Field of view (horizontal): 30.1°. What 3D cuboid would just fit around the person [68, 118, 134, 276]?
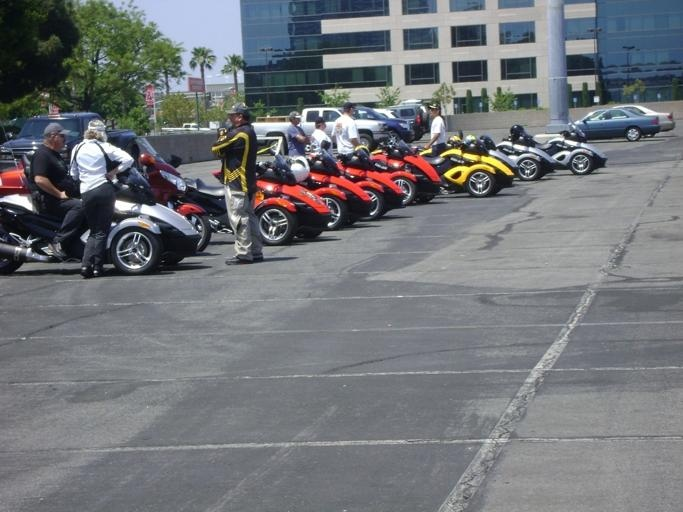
[{"bbox_3d":[-3.342,-0.859,17.732,0.908,1.998,0.868,8,14,-2],"label":"person"}]

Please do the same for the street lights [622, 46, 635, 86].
[{"bbox_3d":[20.956,-13.963,92.946,0.811,2.800,0.265,-6,7,-8],"label":"street lights"}]

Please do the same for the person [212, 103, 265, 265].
[{"bbox_3d":[-1.663,-1.054,18.620,0.932,2.306,0.983,0,2,24],"label":"person"}]

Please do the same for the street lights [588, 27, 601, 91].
[{"bbox_3d":[18.440,-14.734,92.543,0.756,3.988,0.493,-7,7,-17],"label":"street lights"}]
